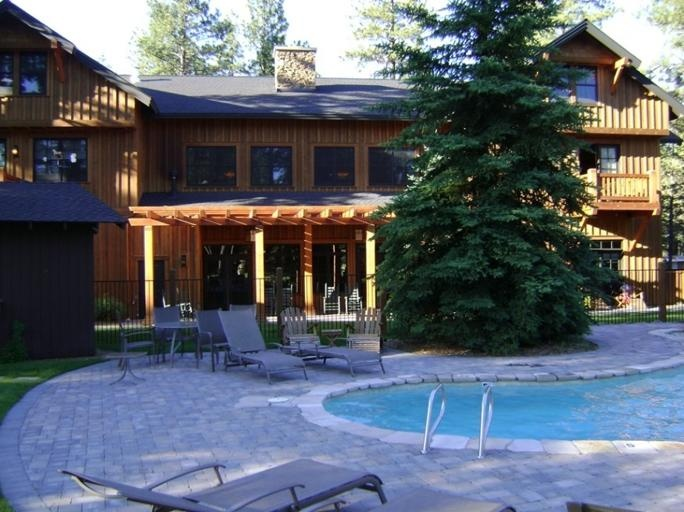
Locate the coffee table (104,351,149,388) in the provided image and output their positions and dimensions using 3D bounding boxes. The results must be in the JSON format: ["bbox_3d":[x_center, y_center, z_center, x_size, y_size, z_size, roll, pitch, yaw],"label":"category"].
[{"bbox_3d":[-4.821,2.416,14.912,1.007,0.531,0.928,0,-3,-4],"label":"coffee table"}]
